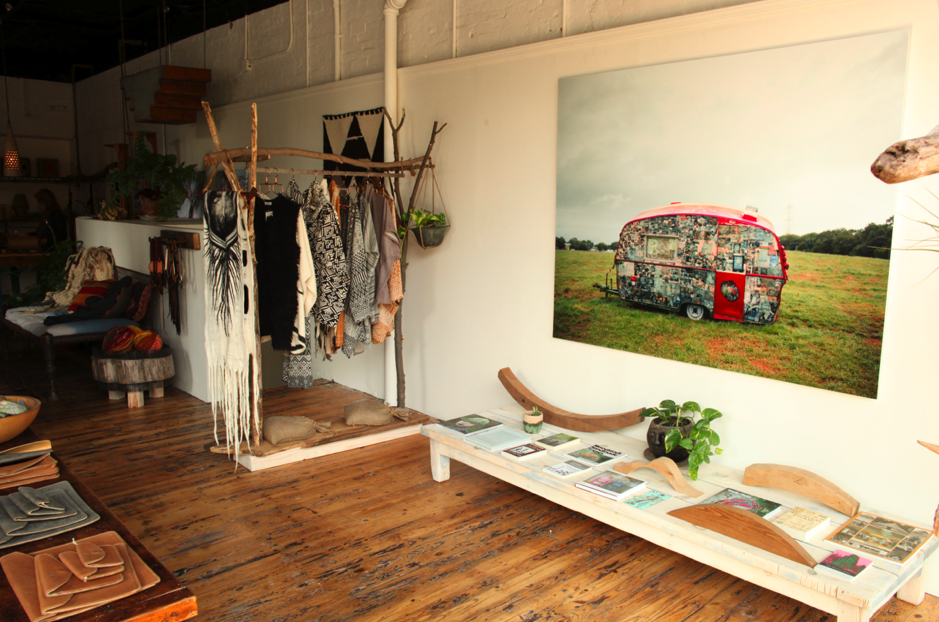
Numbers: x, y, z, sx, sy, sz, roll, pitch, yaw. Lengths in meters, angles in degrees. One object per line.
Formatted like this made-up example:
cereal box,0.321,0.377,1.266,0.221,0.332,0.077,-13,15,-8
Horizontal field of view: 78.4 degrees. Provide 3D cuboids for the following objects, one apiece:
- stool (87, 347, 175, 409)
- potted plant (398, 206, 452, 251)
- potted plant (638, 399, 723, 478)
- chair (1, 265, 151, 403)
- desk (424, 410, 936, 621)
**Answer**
stool,-3.342,0.631,5.718,0.665,0.422,0.664,-8,14,-38
potted plant,-0.393,-0.725,5.082,0.407,0.359,0.354,1,4,19
potted plant,1.415,0.783,3.705,0.472,0.301,0.460,-4,8,-32
chair,-4.414,-0.230,6.507,1.311,1.138,2.371,-2,7,-39
desk,1.103,1.130,3.580,2.750,0.263,0.736,12,17,37
